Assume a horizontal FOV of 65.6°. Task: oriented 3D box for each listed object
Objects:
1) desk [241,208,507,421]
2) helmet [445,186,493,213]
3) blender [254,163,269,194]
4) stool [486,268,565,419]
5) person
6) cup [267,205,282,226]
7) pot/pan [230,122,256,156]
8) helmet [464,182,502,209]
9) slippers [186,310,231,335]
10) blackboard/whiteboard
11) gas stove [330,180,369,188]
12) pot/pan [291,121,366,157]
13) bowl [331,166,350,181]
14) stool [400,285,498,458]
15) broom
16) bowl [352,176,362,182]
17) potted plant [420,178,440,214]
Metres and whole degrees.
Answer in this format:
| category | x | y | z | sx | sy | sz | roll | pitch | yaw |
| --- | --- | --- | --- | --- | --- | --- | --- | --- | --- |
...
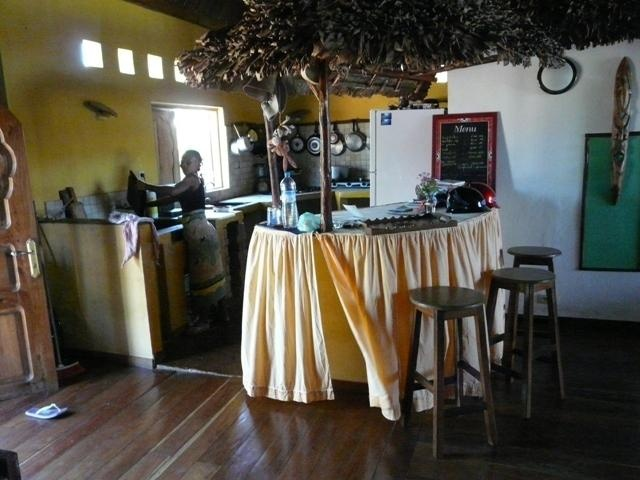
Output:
| category | x | y | z | sx | sy | sz | roll | pitch | yaw |
| --- | --- | --- | --- | --- | --- | --- | --- | --- | --- |
| desk | 0.205 | 0.485 | 4.111 | 1.886 | 1.207 | 1.397 | -1 | 7 | 3 |
| helmet | 1.202 | -0.337 | 4.027 | 0.266 | 0.151 | 0.227 | 1 | 9 | 7 |
| blender | -0.911 | -0.959 | 7.760 | 0.228 | 0.440 | 0.234 | -5 | 11 | 2 |
| stool | 1.556 | 0.690 | 3.773 | 0.536 | 1.003 | 0.820 | 0 | 12 | 26 |
| person | -1.439 | 0.014 | 5.139 | 0.743 | 1.826 | 0.555 | -3 | 11 | 11 |
| cup | -0.358 | -0.187 | 3.975 | 0.130 | 0.146 | 0.135 | 1 | 2 | 0 |
| pot/pan | -1.113 | -1.490 | 7.337 | 0.308 | 0.440 | 0.530 | -3 | 11 | 10 |
| helmet | 1.348 | -0.402 | 4.224 | 0.302 | 0.176 | 0.211 | 21 | 20 | 24 |
| slippers | -1.208 | 0.872 | 5.185 | 0.515 | 0.232 | 0.172 | -1 | 5 | -40 |
| blackboard/whiteboard | 1.457 | -0.887 | 4.930 | 0.810 | 1.013 | 0.064 | 6 | 11 | 41 |
| gas stove | 0.455 | -0.844 | 7.559 | 0.543 | 0.109 | 0.444 | -5 | 11 | 3 |
| pot/pan | 0.130 | -1.649 | 8.195 | 1.315 | 0.551 | 0.260 | -1 | 12 | 24 |
| bowl | 0.322 | -1.045 | 7.846 | 0.273 | 0.227 | 0.269 | -5 | 11 | 1 |
| stool | 0.937 | 0.771 | 3.274 | 0.497 | 0.689 | 0.486 | 0 | -6 | -32 |
| broom | -2.307 | 0.703 | 4.434 | 0.212 | 0.953 | 0.662 | -11 | 12 | -28 |
| bowl | 0.585 | -0.978 | 7.979 | 0.109 | 0.072 | 0.114 | -1 | 7 | 0 |
| potted plant | 0.904 | -0.377 | 4.223 | 0.207 | 0.290 | 0.147 | -6 | 10 | -34 |
